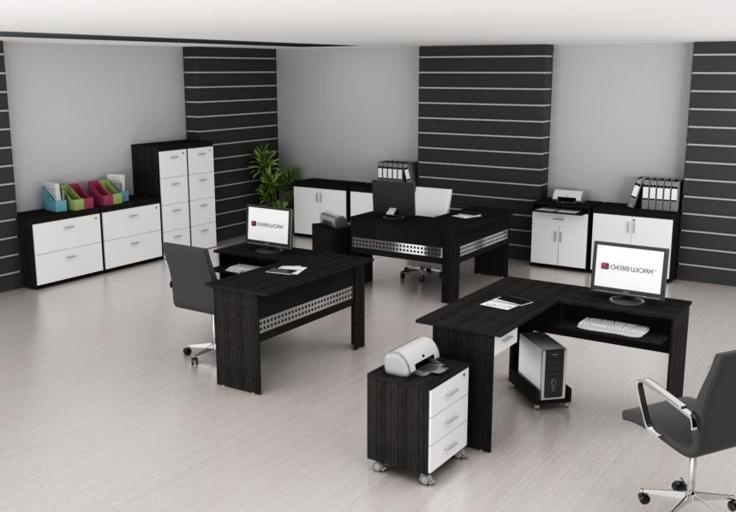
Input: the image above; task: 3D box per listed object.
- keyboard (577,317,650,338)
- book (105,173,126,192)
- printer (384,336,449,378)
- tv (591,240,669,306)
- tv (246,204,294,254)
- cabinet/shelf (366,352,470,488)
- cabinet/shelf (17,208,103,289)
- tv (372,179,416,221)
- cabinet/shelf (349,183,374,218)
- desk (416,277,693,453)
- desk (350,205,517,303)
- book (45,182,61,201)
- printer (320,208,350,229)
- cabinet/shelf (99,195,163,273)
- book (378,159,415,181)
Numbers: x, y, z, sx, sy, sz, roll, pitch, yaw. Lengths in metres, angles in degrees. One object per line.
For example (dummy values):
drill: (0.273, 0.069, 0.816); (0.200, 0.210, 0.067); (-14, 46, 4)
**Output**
keyboard: (2.219, 0.654, 4.743); (0.419, 0.069, 0.248); (5, 11, 30)
book: (-4.327, -1.252, 8.999); (0.366, 0.351, 0.049); (4, 9, 17)
printer: (0.353, 0.803, 4.155); (0.295, 0.159, 0.389); (3, 9, 33)
tv: (2.424, 0.181, 4.888); (0.568, 0.417, 0.221); (7, 15, 31)
tv: (-1.242, -0.320, 6.629); (0.689, 0.490, 0.246); (4, 2, 23)
cabinet/shelf: (0.416, 1.283, 4.516); (0.847, 0.998, 0.867); (4, 10, 32)
cabinet/shelf: (-4.898, -0.164, 8.585); (1.114, 1.282, 1.442); (7, 13, 35)
tv: (0.402, -0.842, 7.980); (0.629, 0.498, 0.211); (5, 9, 26)
cabinet/shelf: (-0.123, -1.021, 9.777); (0.399, 0.662, 0.748); (4, 11, 25)
desk: (1.689, 0.592, 4.793); (1.760, 0.948, 1.783); (7, 13, 32)
desk: (0.873, -0.334, 7.975); (1.816, 0.912, 1.773); (6, 12, 33)
book: (-4.981, -1.013, 8.306); (0.279, 0.256, 0.103); (6, 8, 34)
printer: (-0.462, -0.610, 8.125); (0.299, 0.196, 0.414); (-9, 13, -44)
cabinet/shelf: (-4.189, -0.452, 9.314); (1.025, 1.223, 1.308); (9, 16, 36)
book: (0.552, -1.628, 10.010); (0.582, 0.364, 0.627); (-16, 22, -37)
